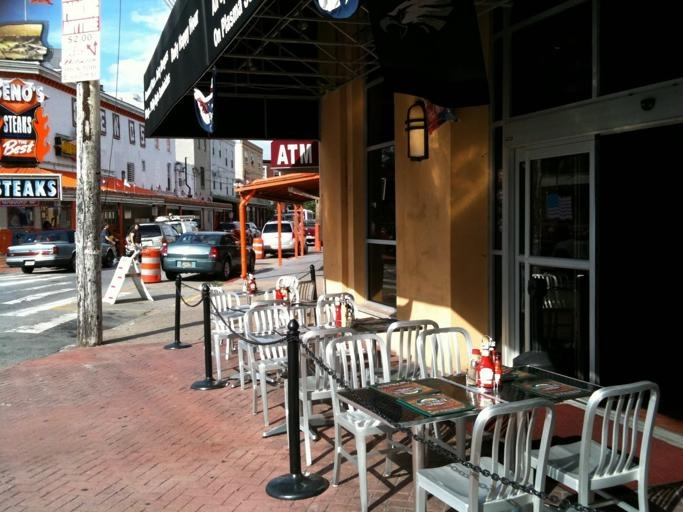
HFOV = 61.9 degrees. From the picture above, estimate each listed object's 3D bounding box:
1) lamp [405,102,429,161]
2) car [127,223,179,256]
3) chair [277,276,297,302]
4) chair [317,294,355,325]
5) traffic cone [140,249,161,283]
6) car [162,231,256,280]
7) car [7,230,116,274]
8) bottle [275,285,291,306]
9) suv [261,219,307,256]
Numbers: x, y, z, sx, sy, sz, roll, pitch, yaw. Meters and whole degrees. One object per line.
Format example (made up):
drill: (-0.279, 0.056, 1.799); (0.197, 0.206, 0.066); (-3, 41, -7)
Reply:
lamp: (1.044, -1.733, 7.768); (0.301, 0.785, 0.249); (0, 3, 5)
car: (-7.650, -0.825, 22.894); (1.503, 1.338, 2.763); (0, 10, 5)
chair: (-0.884, 0.553, 9.465); (0.308, 0.484, 0.481); (2, 11, 6)
chair: (-0.126, 0.732, 7.862); (0.543, 0.563, 0.346); (1, 0, 12)
traffic cone: (-6.249, 0.307, 18.413); (0.596, 1.135, 0.467); (-1, 3, -20)
car: (-4.386, -0.107, 19.620); (1.451, 1.058, 3.269); (0, 5, 10)
car: (-9.294, -0.082, 18.459); (1.534, 1.034, 3.479); (1, 4, 25)
bottle: (-0.855, 0.604, 8.663); (0.254, 0.353, 0.242); (1, 11, 0)
suv: (-3.417, -0.938, 30.163); (1.669, 1.829, 3.441); (0, 2, -7)
